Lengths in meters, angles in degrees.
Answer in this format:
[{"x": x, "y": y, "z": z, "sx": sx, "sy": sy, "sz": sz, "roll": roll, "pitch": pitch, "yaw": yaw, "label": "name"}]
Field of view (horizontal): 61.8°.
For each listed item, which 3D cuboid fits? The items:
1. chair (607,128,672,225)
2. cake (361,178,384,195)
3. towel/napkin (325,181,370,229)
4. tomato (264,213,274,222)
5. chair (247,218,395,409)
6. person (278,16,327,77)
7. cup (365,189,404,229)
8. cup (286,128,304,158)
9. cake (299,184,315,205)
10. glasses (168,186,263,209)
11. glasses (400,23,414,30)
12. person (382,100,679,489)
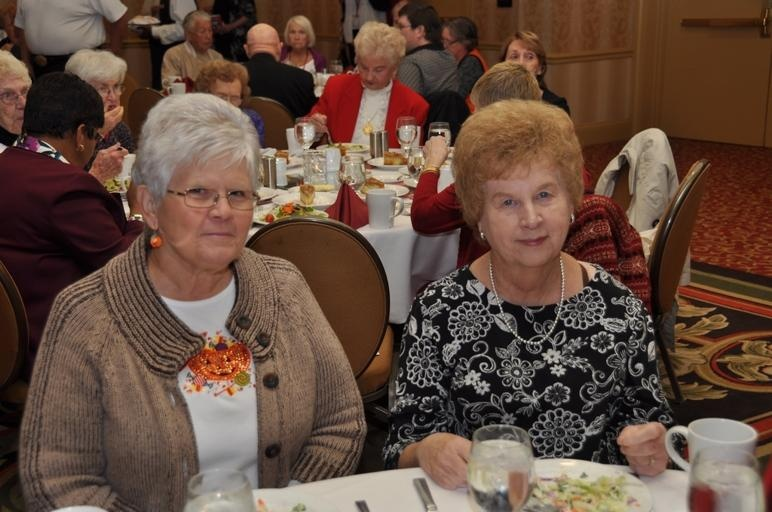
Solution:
[{"x": 1.396, "y": -0.386, "z": 3.476, "sx": 0.187, "sy": 0.516, "sz": 0.378, "roll": 0, "pitch": 24, "yaw": -26, "label": "chair"}, {"x": -0.074, "y": -0.376, "z": 3.421, "sx": 0.116, "sy": 0.050, "sz": 0.106, "roll": -1, "pitch": 7, "yaw": -21, "label": "cake"}, {"x": -0.169, "y": -0.217, "z": 2.987, "sx": 0.194, "sy": 0.234, "sz": 0.203, "roll": -12, "pitch": 14, "yaw": -7, "label": "towel/napkin"}, {"x": -0.524, "y": -0.164, "z": 2.888, "sx": 0.051, "sy": 0.055, "sz": 0.050, "roll": -2, "pitch": 1, "yaw": -8, "label": "tomato"}, {"x": -0.186, "y": 0.166, "z": 2.643, "sx": 0.537, "sy": 1.073, "sz": 0.624, "roll": 1, "pitch": 32, "yaw": 3, "label": "chair"}, {"x": -1.038, "y": -2.394, "z": 7.722, "sx": 0.658, "sy": 0.916, "sz": 0.476, "roll": 3, "pitch": 20, "yaw": -1, "label": "person"}, {"x": -0.014, "y": -0.221, "z": 3.007, "sx": 0.123, "sy": 0.155, "sz": 0.196, "roll": -6, "pitch": 18, "yaw": -19, "label": "cup"}, {"x": -0.596, "y": -0.761, "z": 4.334, "sx": 0.118, "sy": 0.211, "sz": 0.201, "roll": -2, "pitch": 11, "yaw": -2, "label": "cup"}, {"x": -0.397, "y": -0.296, "z": 3.188, "sx": 0.085, "sy": 0.116, "sz": 0.084, "roll": -2, "pitch": 5, "yaw": -40, "label": "cake"}, {"x": -0.447, "y": -0.150, "z": 1.678, "sx": 0.234, "sy": 0.065, "sz": 0.117, "roll": -8, "pitch": 19, "yaw": -23, "label": "glasses"}, {"x": 0.178, "y": -2.126, "z": 5.988, "sx": 0.079, "sy": 0.049, "sz": 0.083, "roll": -3, "pitch": 8, "yaw": -14, "label": "glasses"}, {"x": 0.369, "y": 0.088, "z": 1.732, "sx": 0.763, "sy": 0.945, "sz": 0.496, "roll": -1, "pitch": 16, "yaw": -2, "label": "person"}]
